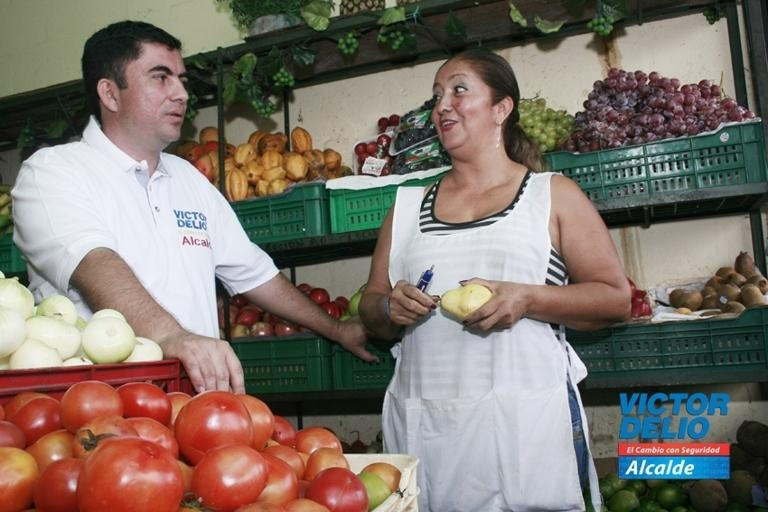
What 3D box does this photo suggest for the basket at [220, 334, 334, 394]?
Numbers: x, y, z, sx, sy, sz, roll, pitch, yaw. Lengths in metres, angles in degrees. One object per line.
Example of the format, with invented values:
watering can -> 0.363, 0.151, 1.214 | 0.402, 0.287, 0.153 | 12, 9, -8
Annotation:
basket -> -0.487, 0.534, 3.662 | 0.295, 0.202, 0.426 | -2, -8, 4

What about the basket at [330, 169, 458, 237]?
basket -> -0.090, -0.273, 3.758 | 0.571, 0.303, 0.275 | 0, 4, 14

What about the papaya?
papaya -> -0.731, -0.495, 4.356 | 0.531, 0.481, 0.992 | -2, 2, 32

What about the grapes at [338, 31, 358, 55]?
grapes -> -0.189, -1.128, 3.932 | 0.082, 0.101, 0.093 | 18, -9, -38

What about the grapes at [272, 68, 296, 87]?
grapes -> -0.551, -1.023, 4.165 | 0.121, 0.101, 0.068 | -23, -5, 3

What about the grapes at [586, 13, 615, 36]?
grapes -> 1.104, -1.165, 3.758 | 0.169, 0.126, 0.096 | -12, -9, -37

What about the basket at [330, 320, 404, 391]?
basket -> -0.082, 0.489, 3.689 | 0.283, 0.285, 0.232 | 3, 2, 7

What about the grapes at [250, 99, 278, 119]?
grapes -> -0.696, -0.867, 4.358 | 0.170, 0.144, 0.094 | -9, 0, 3

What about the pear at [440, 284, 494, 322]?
pear -> 0.295, 0.166, 2.700 | 0.202, 0.129, 0.082 | -7, 9, 23
